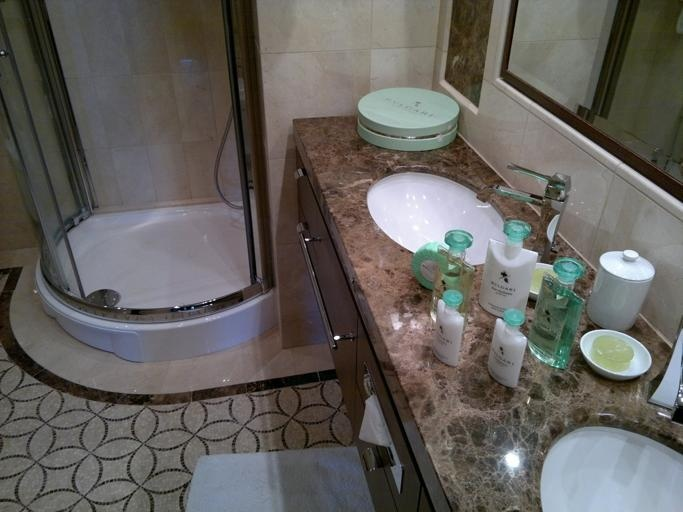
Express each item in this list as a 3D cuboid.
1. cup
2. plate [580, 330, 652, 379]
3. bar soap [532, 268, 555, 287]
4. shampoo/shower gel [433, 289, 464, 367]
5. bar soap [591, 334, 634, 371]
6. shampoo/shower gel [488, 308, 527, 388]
[{"bbox_3d":[0.572,0.074,0.983,0.090,0.161,0.093,-3,35,2],"label":"cup"},{"bbox_3d":[0.524,0.162,0.912,0.096,0.030,0.096,-25,45,-29],"label":"plate"},{"bbox_3d":[0.443,0.049,1.043,0.035,0.018,0.054,-8,51,14],"label":"bar soap"},{"bbox_3d":[0.208,0.128,0.932,0.061,0.138,0.094,9,41,14],"label":"shampoo/shower gel"},{"bbox_3d":[0.519,0.184,0.931,0.069,0.018,0.081,18,46,20],"label":"bar soap"},{"bbox_3d":[0.310,0.161,0.891,0.066,0.148,0.080,16,43,21],"label":"shampoo/shower gel"}]
